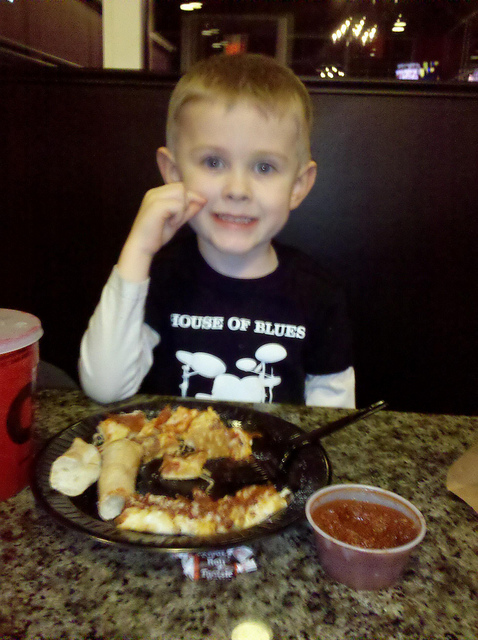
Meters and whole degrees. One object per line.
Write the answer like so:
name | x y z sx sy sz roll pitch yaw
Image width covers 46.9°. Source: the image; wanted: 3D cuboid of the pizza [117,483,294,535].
pizza | -0.049 0.231 0.674 0.132 0.017 0.074 -1 -1 -5

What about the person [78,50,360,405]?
person | -0.053 -0.186 1.276 0.674 0.835 0.407 -6 20 -26

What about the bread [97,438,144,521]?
bread | -0.163 0.209 0.761 0.057 0.043 0.164 7 16 -10
